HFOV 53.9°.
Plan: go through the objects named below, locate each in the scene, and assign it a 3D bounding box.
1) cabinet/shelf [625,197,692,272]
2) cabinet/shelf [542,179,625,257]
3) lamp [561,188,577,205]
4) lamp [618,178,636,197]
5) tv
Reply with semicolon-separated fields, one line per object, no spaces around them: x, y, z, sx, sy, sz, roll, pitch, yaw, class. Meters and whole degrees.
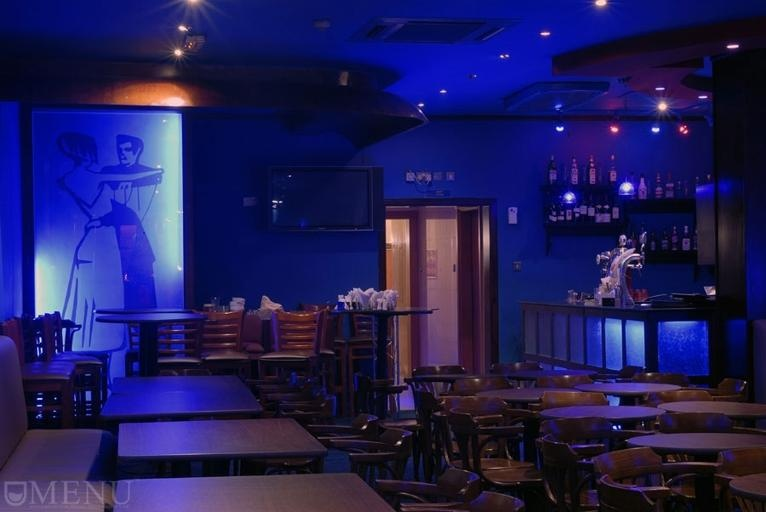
4.322;-0.340;11.869;1.258;1.060;0.423;2;-3;-6;cabinet/shelf
3.141;-0.631;11.937;1.403;1.090;0.399;0;-6;-5;cabinet/shelf
2.970;-0.933;11.941;0.230;0.212;0.092;7;3;15;lamp
3.911;-1.058;12.022;0.259;0.239;0.152;1;-2;1;lamp
-0.742;-0.786;11.354;1.817;0.988;0.918;1;-5;7;tv
